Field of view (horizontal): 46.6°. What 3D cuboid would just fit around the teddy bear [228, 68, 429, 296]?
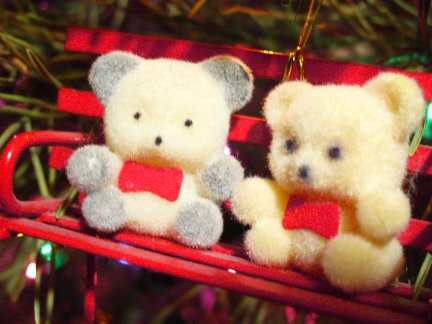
[{"bbox_3d":[0.360,0.048,1.568,0.587,0.300,0.683,17,75,7],"label":"teddy bear"}]
